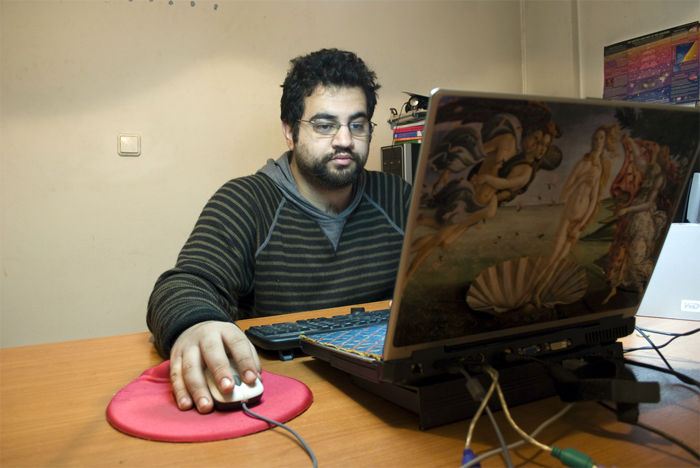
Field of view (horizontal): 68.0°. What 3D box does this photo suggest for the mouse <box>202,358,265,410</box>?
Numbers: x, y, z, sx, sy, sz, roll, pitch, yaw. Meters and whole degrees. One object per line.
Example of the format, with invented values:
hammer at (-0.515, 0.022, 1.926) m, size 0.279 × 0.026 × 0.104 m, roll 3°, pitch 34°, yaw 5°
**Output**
mouse at (-0.208, 0.258, 0.936) m, size 0.091 × 0.036 × 0.151 m, roll -5°, pitch 15°, yaw -22°
